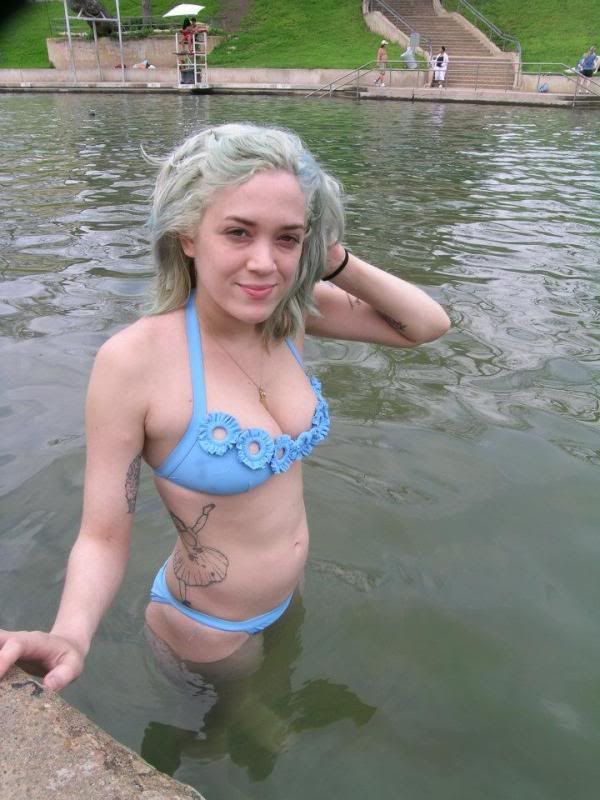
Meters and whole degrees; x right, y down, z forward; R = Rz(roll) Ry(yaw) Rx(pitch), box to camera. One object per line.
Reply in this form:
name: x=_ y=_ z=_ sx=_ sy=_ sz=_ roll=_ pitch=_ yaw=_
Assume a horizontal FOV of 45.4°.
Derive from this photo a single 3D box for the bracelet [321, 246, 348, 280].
bracelet: x=0.117 y=-0.420 z=2.241 sx=0.096 sy=0.023 sz=0.084 roll=-6 pitch=47 yaw=54
